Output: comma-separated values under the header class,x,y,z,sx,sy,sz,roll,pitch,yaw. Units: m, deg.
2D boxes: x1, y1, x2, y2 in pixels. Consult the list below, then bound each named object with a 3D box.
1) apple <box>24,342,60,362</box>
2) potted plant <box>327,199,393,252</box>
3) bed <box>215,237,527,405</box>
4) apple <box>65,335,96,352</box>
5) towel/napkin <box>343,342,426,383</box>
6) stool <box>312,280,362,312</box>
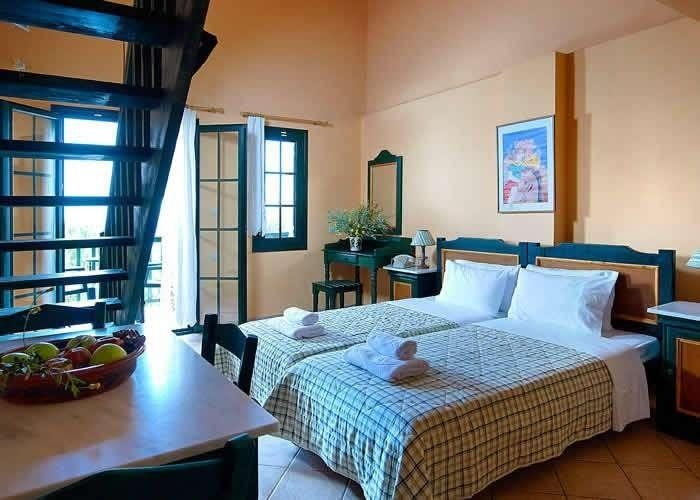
class,x,y,z,sx,sy,sz,roll,pitch,yaw
apple,-1.230,0.398,1.927,0.104,0.092,0.077,2,-8,-3
potted plant,0.116,-0.300,6.128,0.631,0.486,0.613,-2,-2,35
bed,0.071,0.613,4.124,2.075,1.139,1.346,0,2,-32
apple,-1.126,0.386,2.041,0.086,0.040,0.075,-5,-5,39
towel/napkin,0.200,0.702,3.043,0.537,0.100,0.257,6,13,33
stool,-0.190,0.507,5.976,0.440,0.471,0.440,-1,-1,-34
